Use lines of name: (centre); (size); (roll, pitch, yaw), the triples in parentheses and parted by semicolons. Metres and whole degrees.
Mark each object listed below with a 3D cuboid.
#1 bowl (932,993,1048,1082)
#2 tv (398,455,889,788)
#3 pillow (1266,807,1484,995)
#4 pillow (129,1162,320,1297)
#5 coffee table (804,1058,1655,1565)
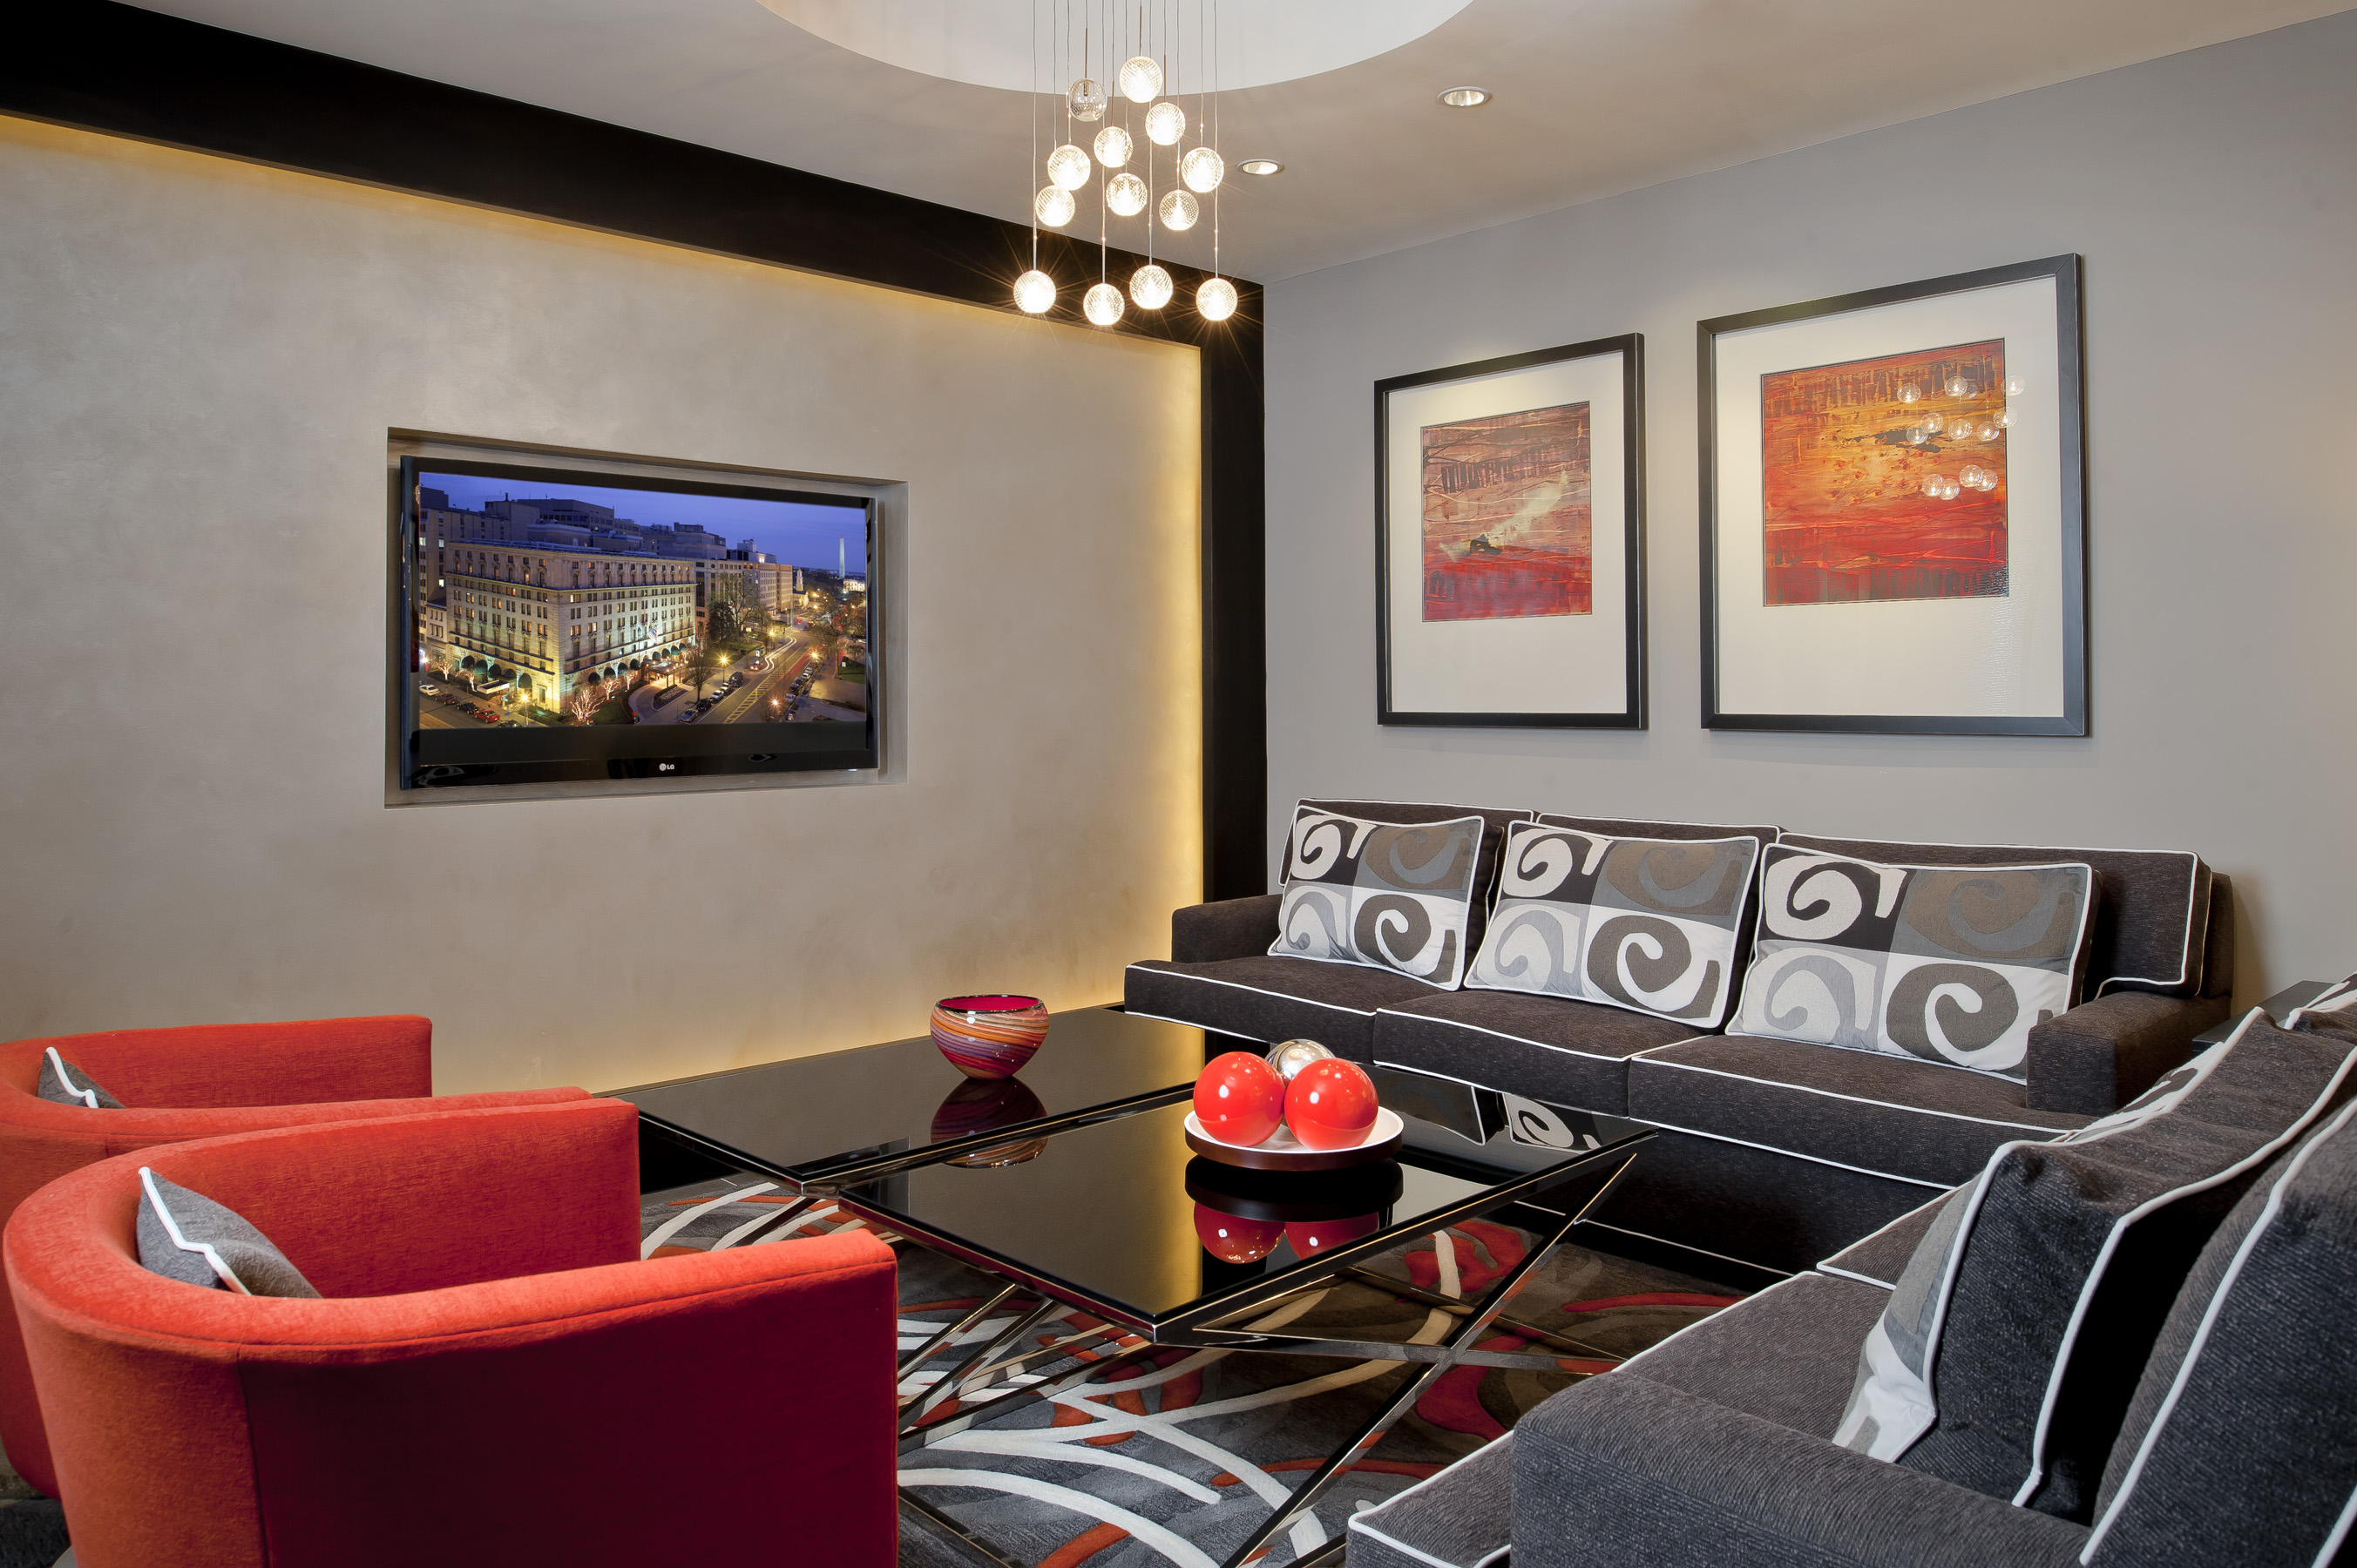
bowl: (-0.481, 0.618, 3.784); (0.232, 0.146, 0.234); (-2, -7, 0)
tv: (-1.828, -0.547, 4.929); (1.195, 0.749, 0.056); (1, -2, -42)
pillow: (0.665, 0.355, 5.169); (0.284, 0.533, 0.794); (-4, 7, -43)
pillow: (-1.459, 0.621, 2.162); (0.251, 0.073, 0.242); (-32, -22, 8)
coffee table: (-0.019, 0.892, 3.171); (1.065, 0.473, 1.050); (-5, 5, -42)
